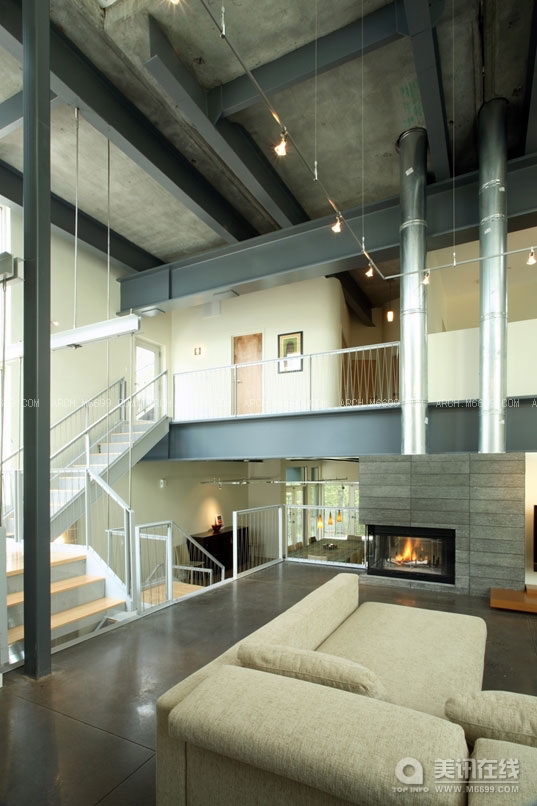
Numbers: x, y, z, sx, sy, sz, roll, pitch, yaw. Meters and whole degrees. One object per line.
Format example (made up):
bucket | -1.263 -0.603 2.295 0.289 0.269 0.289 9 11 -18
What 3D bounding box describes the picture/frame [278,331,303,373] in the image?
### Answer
picture/frame | 0.415 -0.895 10.805 0.566 0.986 0.031 -7 -13 35
